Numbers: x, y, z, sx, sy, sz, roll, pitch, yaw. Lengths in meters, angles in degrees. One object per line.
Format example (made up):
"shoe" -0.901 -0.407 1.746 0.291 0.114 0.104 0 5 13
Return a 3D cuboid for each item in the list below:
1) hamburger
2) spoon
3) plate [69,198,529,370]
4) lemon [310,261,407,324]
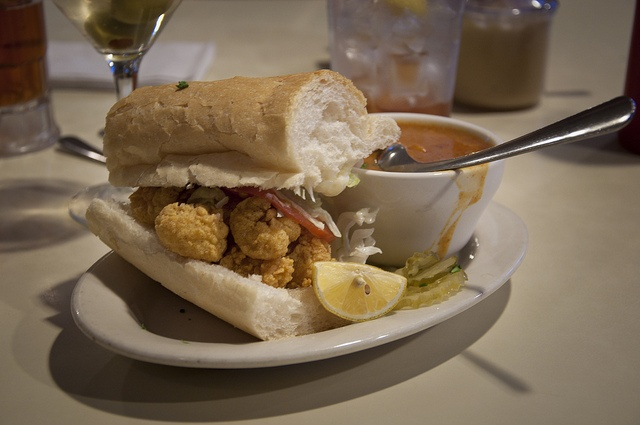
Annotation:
"hamburger" -0.192 -0.088 1.386 0.742 0.473 0.560 3 9 25
"spoon" 0.429 -0.164 1.213 0.551 0.229 0.130 3 54 -3
"plate" 0.007 0.099 1.277 0.782 0.646 0.297 -2 95 17
"lemon" 0.078 0.172 1.106 0.202 0.049 0.113 11 53 3
